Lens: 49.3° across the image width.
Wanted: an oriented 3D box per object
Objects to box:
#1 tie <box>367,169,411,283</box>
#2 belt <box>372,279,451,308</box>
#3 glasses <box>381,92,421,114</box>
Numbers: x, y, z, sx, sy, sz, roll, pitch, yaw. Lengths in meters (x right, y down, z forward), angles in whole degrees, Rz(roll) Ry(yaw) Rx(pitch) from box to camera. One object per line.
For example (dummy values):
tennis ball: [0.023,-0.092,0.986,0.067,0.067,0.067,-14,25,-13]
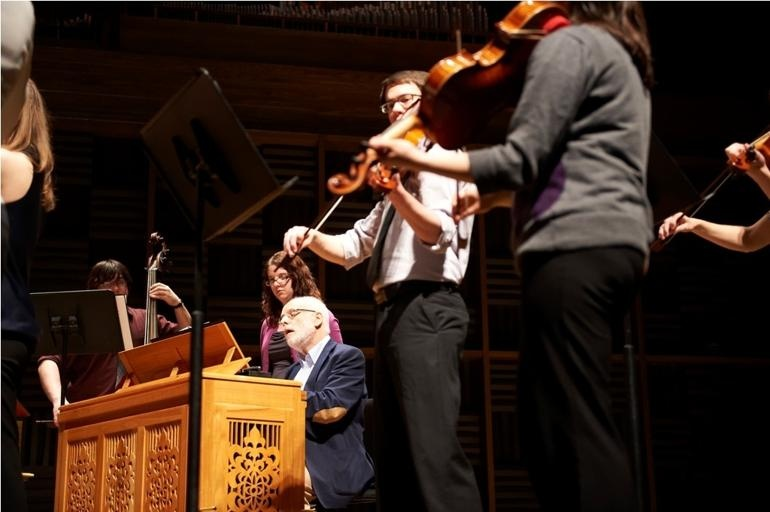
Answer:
tie: [0.027,-0.138,3.992,0.050,0.551,0.100,11,-17,12]
belt: [0.127,0.166,3.968,0.198,0.066,0.167,-5,-22,-10]
glasses: [0.100,-0.821,4.434,0.190,0.056,0.188,-30,5,-39]
